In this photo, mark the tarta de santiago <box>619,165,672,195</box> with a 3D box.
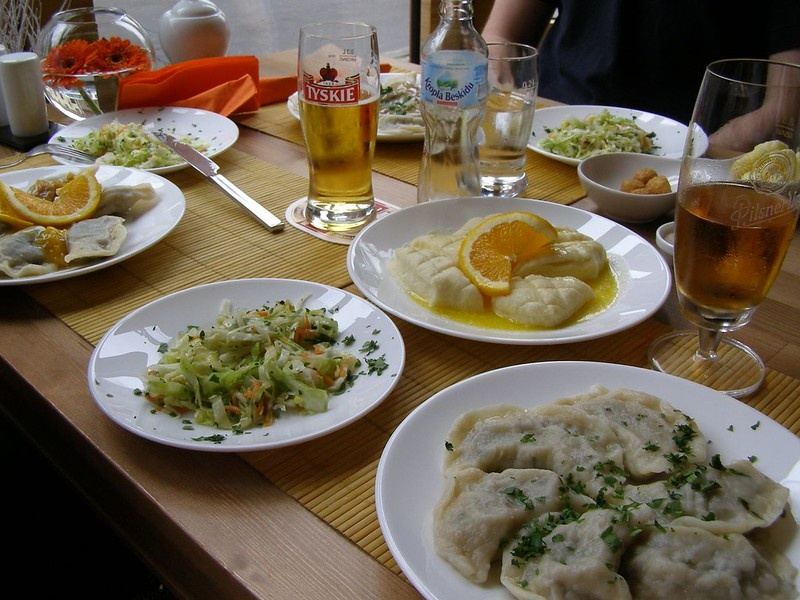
[{"bbox_3d":[0.624,-0.296,1.446,0.098,0.043,0.105,-1,23,7],"label":"tarta de santiago"}]

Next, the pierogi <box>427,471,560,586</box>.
[{"bbox_3d":[0.106,0.272,0.714,0.135,0.042,0.108,-27,39,-26],"label":"pierogi"}]

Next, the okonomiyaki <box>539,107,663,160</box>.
[{"bbox_3d":[0.621,-0.526,1.830,0.278,0.061,0.278,-10,36,-6],"label":"okonomiyaki"}]

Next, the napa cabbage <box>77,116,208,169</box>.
[{"bbox_3d":[-0.810,-0.490,1.789,0.424,0.125,0.332,8,20,24],"label":"napa cabbage"}]
